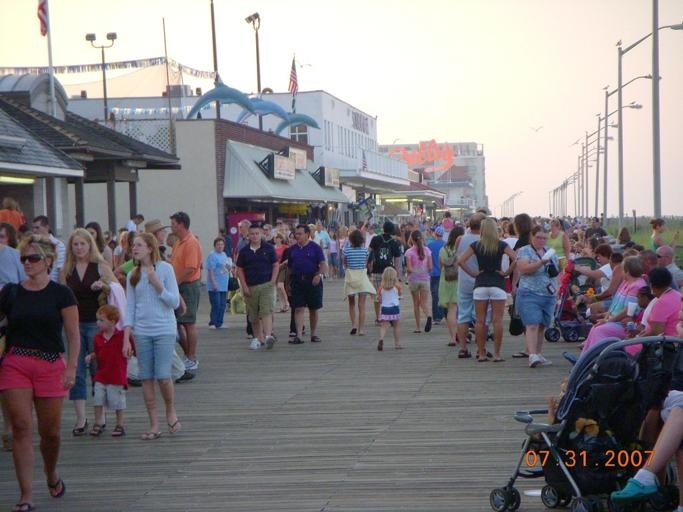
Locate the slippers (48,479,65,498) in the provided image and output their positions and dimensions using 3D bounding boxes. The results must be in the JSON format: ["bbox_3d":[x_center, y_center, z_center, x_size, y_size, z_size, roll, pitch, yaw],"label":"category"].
[{"bbox_3d":[-3.268,2.636,15.445,0.185,0.196,0.268,-4,9,-13],"label":"slippers"}]

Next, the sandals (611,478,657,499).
[{"bbox_3d":[3.121,2.488,14.338,0.380,0.168,0.230,-1,-5,-4],"label":"sandals"}]
